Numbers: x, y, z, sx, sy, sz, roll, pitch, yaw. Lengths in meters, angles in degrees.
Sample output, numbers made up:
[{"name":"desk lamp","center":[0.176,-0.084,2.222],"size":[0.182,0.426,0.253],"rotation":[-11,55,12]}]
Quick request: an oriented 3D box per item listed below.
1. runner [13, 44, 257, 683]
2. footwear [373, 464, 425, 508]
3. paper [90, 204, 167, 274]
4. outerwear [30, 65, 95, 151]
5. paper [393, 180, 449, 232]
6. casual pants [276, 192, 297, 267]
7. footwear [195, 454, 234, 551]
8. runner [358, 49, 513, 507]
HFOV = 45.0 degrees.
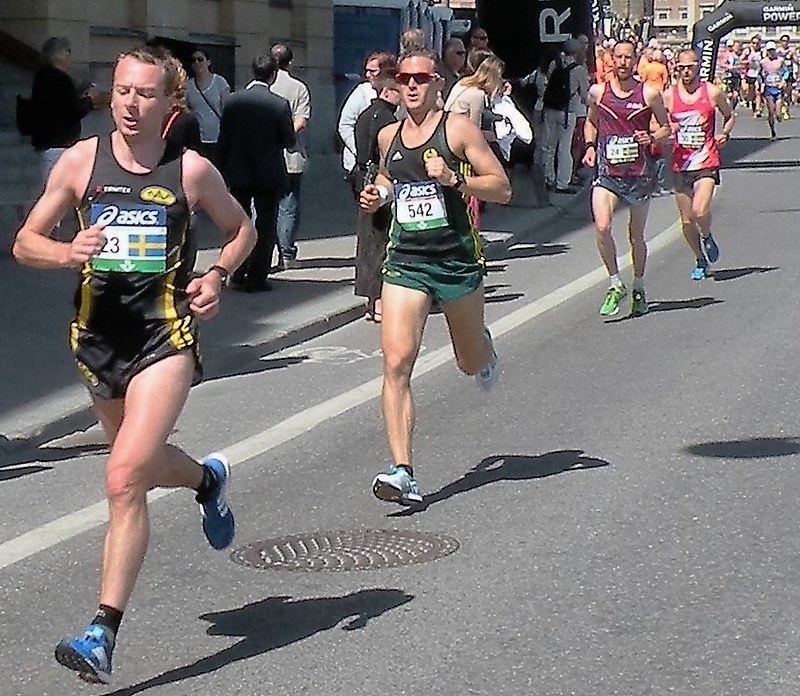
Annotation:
[{"name":"runner","center":[-0.962,-0.076,3.090],"size":[0.641,1.716,1.196],"rotation":[3,13,13]},{"name":"footwear","center":[-0.005,0.638,4.525],"size":[0.265,0.126,0.144],"rotation":[33,33,-40]},{"name":"paper","center":[-0.873,-0.354,3.075],"size":[0.192,0.190,0.029],"rotation":[1,-3,-3]},{"name":"outerwear","center":[-3.968,-2.752,11.202],"size":[0.593,0.982,0.701],"rotation":[-1,3,-30]},{"name":"paper","center":[0.119,-0.732,4.968],"size":[0.280,0.286,0.044],"rotation":[-1,41,6]},{"name":"casual pants","center":[-1.410,-1.468,12.076],"size":[0.274,0.981,0.467],"rotation":[-2,12,-7]},{"name":"footwear","center":[-0.693,0.613,3.814],"size":[0.120,0.393,0.159],"rotation":[-12,23,-10]},{"name":"runner","center":[0.162,-0.308,5.039],"size":[0.683,1.937,1.584],"rotation":[4,13,21]}]
